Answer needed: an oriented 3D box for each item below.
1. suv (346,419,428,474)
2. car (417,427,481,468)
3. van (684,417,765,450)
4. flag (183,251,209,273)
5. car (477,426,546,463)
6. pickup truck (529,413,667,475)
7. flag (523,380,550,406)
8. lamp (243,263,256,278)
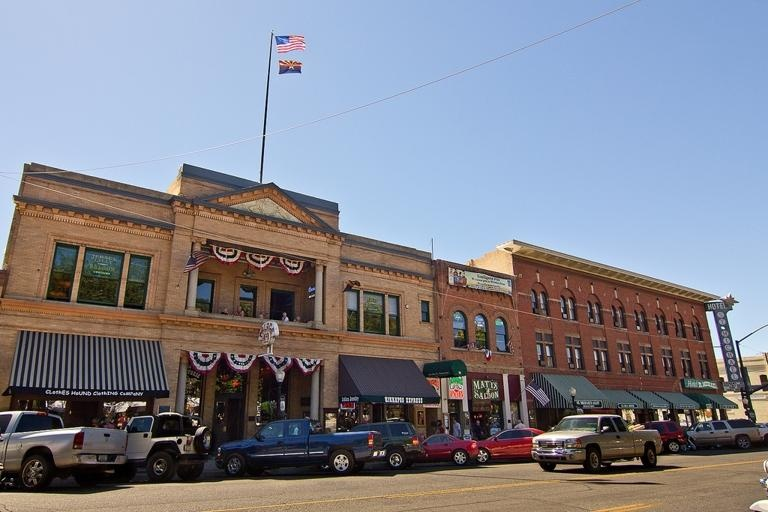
[{"bbox_3d":[0.115,8.541,22.976,3.595,1.420,1.857,1,-15,-2],"label":"suv"},{"bbox_3d":[3.154,9.683,25.413,3.232,1.075,1.356,1,-24,6],"label":"car"},{"bbox_3d":[22.000,11.484,33.120,4.420,1.514,2.074,-4,-19,15],"label":"van"},{"bbox_3d":[-10.082,0.232,27.374,1.186,1.118,0.410,24,-50,3],"label":"flag"},{"bbox_3d":[6.371,9.862,26.559,4.276,1.285,1.706,0,-17,0],"label":"car"},{"bbox_3d":[9.277,7.992,21.866,6.001,2.219,2.259,6,-23,-23],"label":"pickup truck"},{"bbox_3d":[11.206,10.078,37.164,1.218,1.867,0.553,-40,-12,-34],"label":"flag"},{"bbox_3d":[-8.289,0.911,31.068,0.841,0.787,0.247,9,-8,-24],"label":"lamp"}]
